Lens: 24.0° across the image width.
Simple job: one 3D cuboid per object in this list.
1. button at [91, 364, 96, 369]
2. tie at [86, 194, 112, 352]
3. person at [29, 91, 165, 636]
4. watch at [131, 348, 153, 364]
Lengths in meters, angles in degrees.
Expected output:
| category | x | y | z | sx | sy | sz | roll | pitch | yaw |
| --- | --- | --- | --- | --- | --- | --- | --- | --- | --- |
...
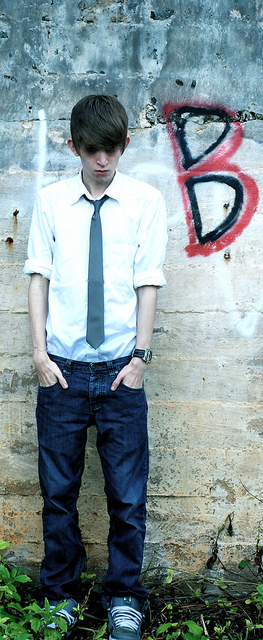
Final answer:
| category | x | y | z | sx | sy | sz | roll | pitch | yaw |
| --- | --- | --- | --- | --- | --- | --- | --- | --- | --- |
| button | -0.144 | 0.172 | 2.274 | 0.016 | 0.016 | 0.005 | -2 | -3 | -23 |
| tie | -0.124 | -0.177 | 2.259 | 0.085 | 0.551 | 0.101 | 1 | 6 | -4 |
| person | -0.129 | 0.214 | 2.291 | 0.494 | 2.054 | 0.349 | 0 | 6 | -10 |
| watch | 0.038 | 0.134 | 2.294 | 0.068 | 0.047 | 0.070 | 1 | -12 | 17 |
